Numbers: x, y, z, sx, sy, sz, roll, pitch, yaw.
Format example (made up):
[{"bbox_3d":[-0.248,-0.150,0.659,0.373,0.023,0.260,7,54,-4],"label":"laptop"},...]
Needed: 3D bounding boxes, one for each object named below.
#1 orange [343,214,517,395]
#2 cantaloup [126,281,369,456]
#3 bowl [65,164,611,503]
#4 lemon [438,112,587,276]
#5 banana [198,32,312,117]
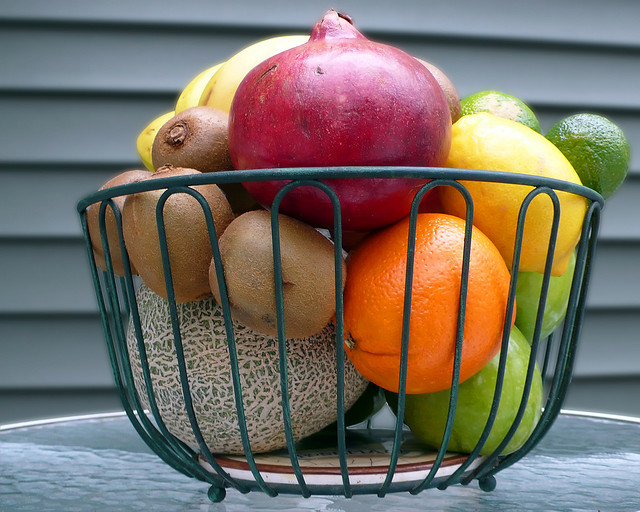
[{"bbox_3d":[0.112,0.052,1.018,0.175,0.188,0.071,0,9,2],"label":"orange"},{"bbox_3d":[-0.084,0.088,1.103,0.212,0.220,0.182,-2,2,-44],"label":"cantaloup"},{"bbox_3d":[0.038,0.062,1.030,0.401,0.481,0.338,1,-2,-37],"label":"bowl"},{"bbox_3d":[0.210,-0.068,1.112,0.135,0.180,0.132,-43,1,-40],"label":"lemon"},{"bbox_3d":[-0.076,-0.207,1.108,0.128,0.092,0.188,-1,10,-7],"label":"banana"}]
